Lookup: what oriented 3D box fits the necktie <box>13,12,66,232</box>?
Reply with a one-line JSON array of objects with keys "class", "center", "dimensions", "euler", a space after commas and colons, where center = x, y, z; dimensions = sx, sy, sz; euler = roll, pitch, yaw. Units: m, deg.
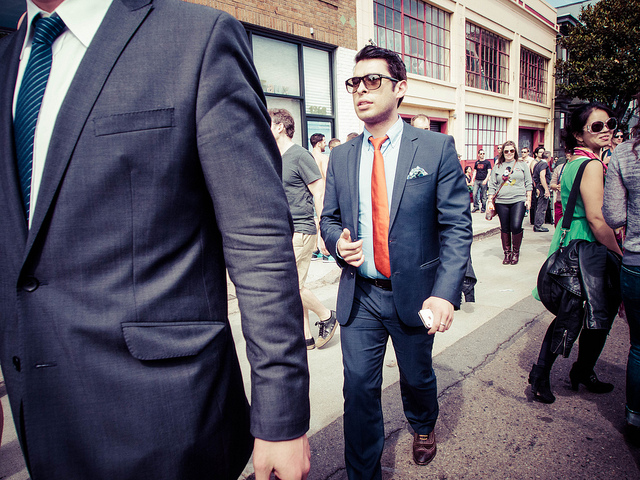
[{"class": "necktie", "center": [-0.853, -0.396, 1.393], "dimensions": [0.114, 0.744, 0.041], "euler": [-1, -7, -5]}]

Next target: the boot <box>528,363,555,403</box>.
[{"class": "boot", "center": [1.654, 1.079, 3.442], "dimensions": [0.179, 0.279, 0.119], "euler": [5, 14, 28]}]

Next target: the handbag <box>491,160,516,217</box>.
[{"class": "handbag", "center": [3.033, -0.769, 7.749], "dimensions": [0.102, 0.776, 0.103], "euler": [-8, 35, -38]}]

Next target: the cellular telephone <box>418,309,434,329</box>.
[{"class": "cellular telephone", "center": [0.542, 0.408, 2.352], "dimensions": [0.069, 0.088, 0.065], "euler": [1, 13, 13]}]

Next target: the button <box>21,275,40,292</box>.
[{"class": "button", "center": [-0.828, 0.125, 1.316], "dimensions": [0.050, 0.048, 0.011], "euler": [0, 13, 6]}]

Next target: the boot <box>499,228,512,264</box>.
[{"class": "boot", "center": [3.065, 0.121, 7.607], "dimensions": [0.175, 0.561, 0.207], "euler": [1, 13, 13]}]

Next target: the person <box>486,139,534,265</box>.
[{"class": "person", "center": [3.153, -0.622, 7.734], "dimensions": [0.657, 1.974, 0.828], "euler": [3, 13, 22]}]

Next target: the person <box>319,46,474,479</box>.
[{"class": "person", "center": [0.432, 0.143, 2.634], "dimensions": [0.853, 2.511, 0.897], "euler": [-2, 12, 0]}]

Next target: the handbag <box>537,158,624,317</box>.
[{"class": "handbag", "center": [1.855, 0.010, 3.240], "dimensions": [0.567, 1.114, 0.495], "euler": [9, 17, 41]}]

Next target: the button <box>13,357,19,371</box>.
[{"class": "button", "center": [-0.899, 0.368, 1.362], "dimensions": [0.025, 0.035, 0.009], "euler": [-1, 8, 33]}]

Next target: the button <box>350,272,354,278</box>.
[{"class": "button", "center": [0.181, 0.204, 2.648], "dimensions": [0.024, 0.016, 0.055], "euler": [0, -14, 2]}]
